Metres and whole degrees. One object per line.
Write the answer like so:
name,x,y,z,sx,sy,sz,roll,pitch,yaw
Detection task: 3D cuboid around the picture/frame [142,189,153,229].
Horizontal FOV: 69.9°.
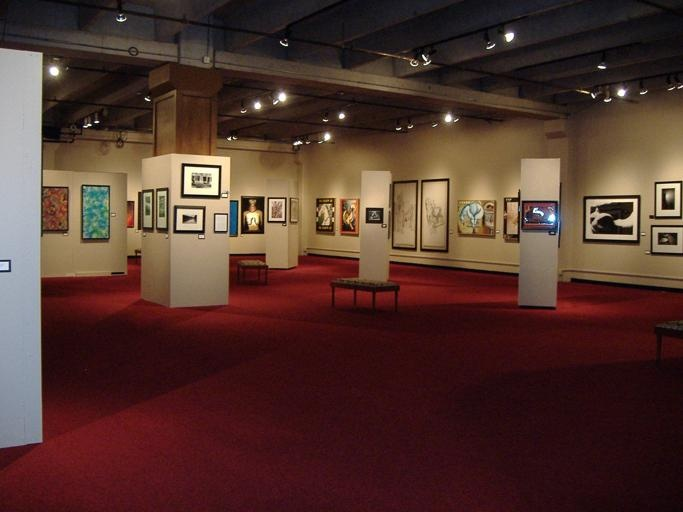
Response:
picture/frame,-4.646,-1.124,11.750,0.069,1.181,0.826,-2,4,-34

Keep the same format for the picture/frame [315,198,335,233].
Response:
picture/frame,-0.797,-2.032,24.633,0.118,1.993,1.427,-6,10,-37

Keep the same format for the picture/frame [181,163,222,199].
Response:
picture/frame,-3.192,-1.704,11.008,0.716,0.677,0.060,-2,4,-31

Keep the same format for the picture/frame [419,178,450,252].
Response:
picture/frame,3.808,-1.656,19.973,0.300,2.924,1.440,-3,7,-33

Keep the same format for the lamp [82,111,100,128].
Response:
lamp,-9.645,-5.259,18.830,0.329,0.647,1.589,1,10,-36

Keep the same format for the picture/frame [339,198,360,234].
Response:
picture/frame,0.408,-1.913,23.416,0.088,2.358,1.447,-5,6,-43

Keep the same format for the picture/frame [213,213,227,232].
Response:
picture/frame,-2.814,-0.774,11.273,0.370,0.556,0.050,-3,3,-32

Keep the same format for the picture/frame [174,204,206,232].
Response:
picture/frame,-3.437,-0.850,10.959,0.530,0.574,0.045,0,-1,-24

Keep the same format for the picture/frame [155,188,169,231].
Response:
picture/frame,-4.057,-1.069,11.111,0.068,1.112,0.862,1,1,-39

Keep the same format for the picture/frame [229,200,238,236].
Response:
picture/frame,-5.335,-1.864,24.491,0.403,1.815,0.242,-1,6,-13

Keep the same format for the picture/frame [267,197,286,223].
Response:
picture/frame,-2.519,-1.774,19.018,0.814,1.166,0.046,1,3,4

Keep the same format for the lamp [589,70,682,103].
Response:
lamp,8.402,-4.732,14.026,2.332,0.579,1.697,8,11,41

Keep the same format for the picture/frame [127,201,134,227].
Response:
picture/frame,-9.493,-1.865,22.173,0.299,1.175,0.226,-1,6,-16

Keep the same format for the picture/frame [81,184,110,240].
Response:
picture/frame,-8.148,-1.415,16.258,0.867,1.760,0.302,-3,7,-31

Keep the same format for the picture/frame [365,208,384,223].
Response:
picture/frame,1.027,-1.240,15.047,0.388,0.392,0.031,1,-4,17

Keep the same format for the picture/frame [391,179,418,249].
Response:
picture/frame,2.753,-1.757,21.147,0.145,2.978,1.523,-4,8,-39
